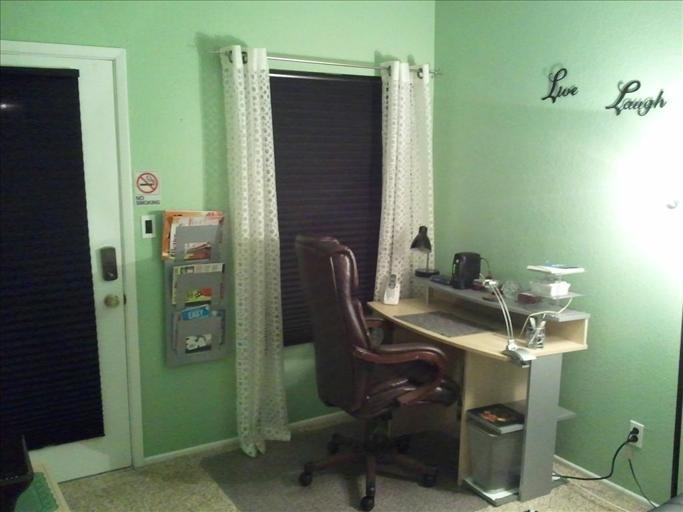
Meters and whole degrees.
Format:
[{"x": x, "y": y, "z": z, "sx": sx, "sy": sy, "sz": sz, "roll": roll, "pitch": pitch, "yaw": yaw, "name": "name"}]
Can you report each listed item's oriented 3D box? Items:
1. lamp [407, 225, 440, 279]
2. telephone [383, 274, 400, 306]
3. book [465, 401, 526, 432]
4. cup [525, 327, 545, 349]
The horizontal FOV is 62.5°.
[{"x": 0.587, "y": -0.037, "z": 3.903, "sx": 0.194, "sy": 0.368, "sz": 0.250, "roll": 0, "pitch": 5, "yaw": -32, "name": "lamp"}, {"x": 0.350, "y": 0.234, "z": 3.910, "sx": 0.114, "sy": 0.204, "sz": 0.073, "roll": 8, "pitch": -2, "yaw": 28, "name": "telephone"}, {"x": 0.911, "y": 0.954, "z": 3.276, "sx": 0.303, "sy": 0.075, "sz": 0.243, "roll": -4, "pitch": 12, "yaw": -12, "name": "book"}, {"x": 1.100, "y": 0.469, "z": 3.232, "sx": 0.123, "sy": 0.107, "sz": 0.096, "roll": 1, "pitch": 4, "yaw": 7, "name": "cup"}]
